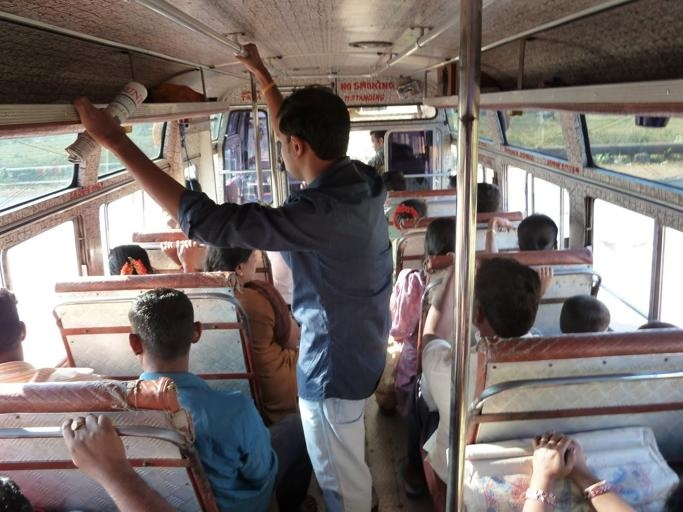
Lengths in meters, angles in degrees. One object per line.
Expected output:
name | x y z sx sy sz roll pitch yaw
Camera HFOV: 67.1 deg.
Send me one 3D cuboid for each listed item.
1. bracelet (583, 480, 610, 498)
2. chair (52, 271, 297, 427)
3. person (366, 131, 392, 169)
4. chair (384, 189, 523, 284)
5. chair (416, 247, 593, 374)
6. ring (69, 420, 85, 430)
bracelet | 1.053 0.969 2.134 0.097 0.071 0.038 -4 11 -5
chair | -1.192 0.528 3.782 1.131 1.180 0.802 0 27 2
person | 0.713 -1.896 9.217 0.360 0.723 0.719 -11 6 11
chair | 1.259 -0.404 6.063 1.491 1.505 1.193 -2 29 2
chair | 1.258 0.607 3.914 1.336 1.006 0.726 -3 28 1
ring | -1.011 0.647 1.983 0.036 0.011 0.036 0 38 0
